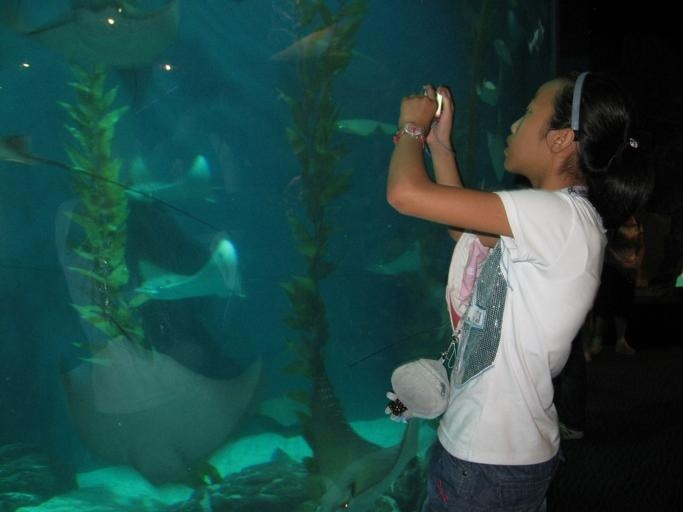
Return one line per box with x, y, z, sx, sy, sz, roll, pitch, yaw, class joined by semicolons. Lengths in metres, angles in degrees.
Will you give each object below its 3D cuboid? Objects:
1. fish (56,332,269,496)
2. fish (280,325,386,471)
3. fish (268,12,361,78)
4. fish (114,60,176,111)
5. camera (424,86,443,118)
-0.669;0.545;2.097;0.385;0.660;0.127;-25;26;-20;fish
-0.071;0.566;2.280;0.294;0.470;0.091;-17;9;-25;fish
-0.099;-0.812;2.209;0.351;0.139;0.011;-13;14;-22;fish
-0.676;-0.600;1.997;0.148;0.161;0.037;-13;5;-12;fish
0.317;-0.515;1.953;0.041;0.126;0.090;-11;5;15;camera
